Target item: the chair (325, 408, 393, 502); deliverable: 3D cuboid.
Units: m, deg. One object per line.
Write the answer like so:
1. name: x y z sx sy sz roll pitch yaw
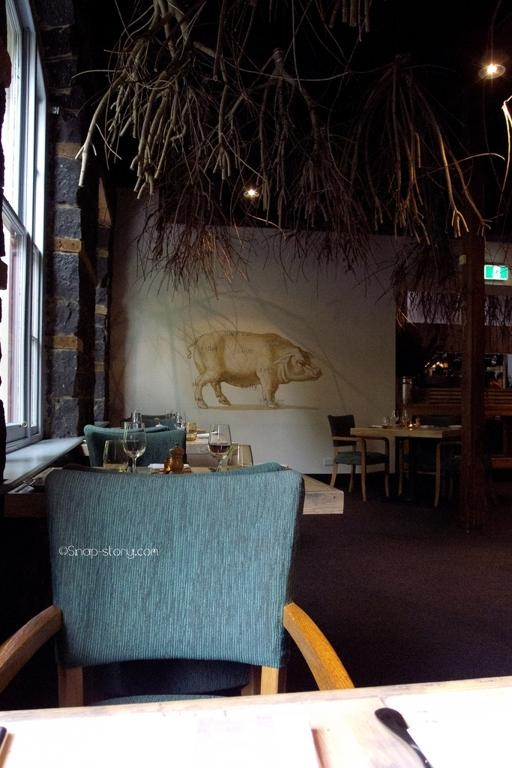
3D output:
1. chair: 1.077 0.702 5.954 0.584 1.051 0.613 6 2 44

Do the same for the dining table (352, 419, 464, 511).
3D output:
1. dining table: 1.471 0.709 5.410 0.809 0.763 0.835 -3 -7 36
